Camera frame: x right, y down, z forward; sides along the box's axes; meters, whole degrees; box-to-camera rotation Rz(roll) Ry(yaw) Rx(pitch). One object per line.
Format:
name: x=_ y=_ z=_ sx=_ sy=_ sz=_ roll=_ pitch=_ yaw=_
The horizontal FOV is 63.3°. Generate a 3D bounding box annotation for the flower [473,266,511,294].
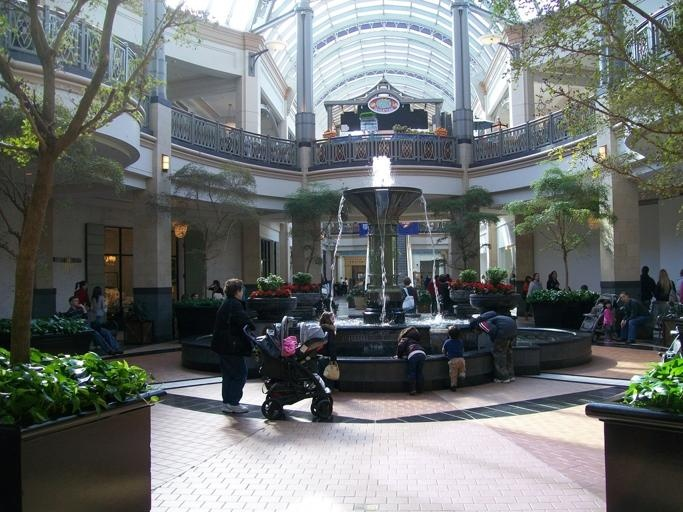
flower: x=4.140 y=0.717 z=15.105 sx=0.762 sy=0.789 sz=0.856 roll=0 pitch=4 yaw=-42

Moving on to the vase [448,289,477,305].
vase: x=3.536 y=1.170 z=16.273 sx=0.448 sy=0.318 sz=0.470 roll=4 pitch=-5 yaw=-6

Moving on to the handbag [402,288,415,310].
handbag: x=2.012 y=1.286 z=16.717 sx=0.326 sy=0.923 sz=0.649 roll=1 pitch=-6 yaw=2

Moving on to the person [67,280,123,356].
person: x=-6.825 y=1.662 z=15.188 sx=2.233 sy=1.572 sz=0.972 roll=25 pitch=20 yaw=34

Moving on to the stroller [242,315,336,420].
stroller: x=-0.772 y=1.579 z=8.090 sx=1.237 sy=1.521 sz=0.861 roll=0 pitch=-7 yaw=0

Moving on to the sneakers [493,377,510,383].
sneakers: x=2.909 y=2.236 z=9.951 sx=0.242 sy=0.123 sz=0.103 roll=3 pitch=-1 yaw=13

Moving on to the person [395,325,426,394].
person: x=1.172 y=1.818 z=9.530 sx=0.487 sy=1.236 sz=0.717 roll=7 pitch=-45 yaw=-3

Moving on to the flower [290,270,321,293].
flower: x=-1.138 y=0.763 z=17.144 sx=0.650 sy=0.589 sz=0.645 roll=0 pitch=3 yaw=-37

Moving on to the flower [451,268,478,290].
flower: x=3.672 y=0.708 z=16.548 sx=0.746 sy=0.760 sz=0.630 roll=3 pitch=-5 yaw=18

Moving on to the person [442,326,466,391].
person: x=1.931 y=1.732 z=9.452 sx=0.365 sy=1.087 sz=0.606 roll=-2 pitch=-4 yaw=13

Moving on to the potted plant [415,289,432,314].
potted plant: x=3.389 y=1.895 z=23.355 sx=0.833 sy=0.997 sz=0.842 roll=1 pitch=-12 yaw=-5

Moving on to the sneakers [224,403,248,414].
sneakers: x=-1.537 y=2.206 z=8.109 sx=0.363 sy=0.172 sz=0.147 roll=3 pitch=-3 yaw=-9

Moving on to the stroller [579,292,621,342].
stroller: x=7.536 y=1.581 z=15.775 sx=1.560 sy=0.946 sz=0.470 roll=-18 pitch=11 yaw=-19

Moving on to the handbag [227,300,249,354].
handbag: x=-1.518 y=1.025 z=8.171 sx=0.306 sy=0.912 sz=0.443 roll=-1 pitch=0 yaw=-11

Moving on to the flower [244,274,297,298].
flower: x=-2.420 y=0.942 z=17.832 sx=0.853 sy=0.601 sz=0.910 roll=-3 pitch=0 yaw=3
